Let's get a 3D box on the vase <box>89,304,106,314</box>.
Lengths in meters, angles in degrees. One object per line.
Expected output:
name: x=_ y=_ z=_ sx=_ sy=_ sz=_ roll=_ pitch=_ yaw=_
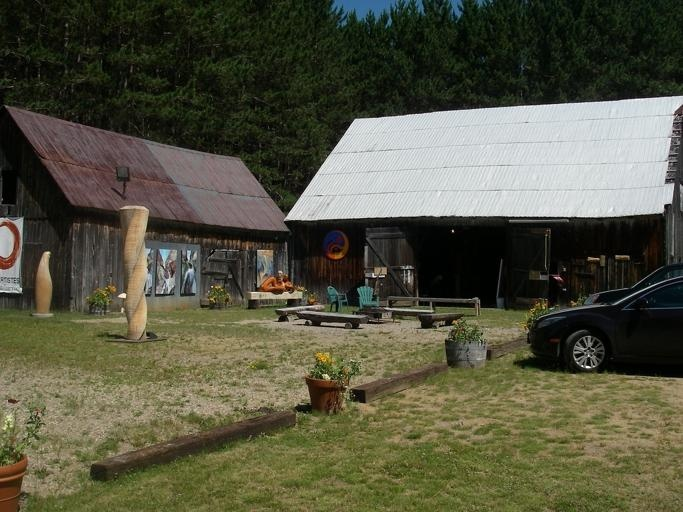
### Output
vase: x=-8.011 y=1.773 z=25.905 sx=0.314 sy=0.241 sz=0.333 roll=1 pitch=0 yaw=37

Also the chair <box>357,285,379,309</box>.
chair: x=0.904 y=1.490 z=28.353 sx=0.689 sy=1.172 sz=0.787 roll=0 pitch=-3 yaw=-12

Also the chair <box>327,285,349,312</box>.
chair: x=-0.182 y=1.643 z=30.183 sx=0.846 sy=1.402 sz=0.889 roll=-2 pitch=-2 yaw=41

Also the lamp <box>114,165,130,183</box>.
lamp: x=-7.049 y=-2.639 z=25.568 sx=0.332 sy=0.472 sz=0.619 roll=-12 pitch=19 yaw=-39

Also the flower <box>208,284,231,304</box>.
flower: x=-4.750 y=1.564 z=30.720 sx=0.656 sy=0.594 sz=0.700 roll=4 pitch=3 yaw=14

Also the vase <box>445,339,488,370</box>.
vase: x=2.767 y=2.205 z=17.792 sx=0.611 sy=0.458 sz=0.632 roll=-6 pitch=-9 yaw=42

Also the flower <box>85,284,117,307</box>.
flower: x=-7.920 y=1.356 z=26.002 sx=0.664 sy=0.602 sz=0.768 roll=2 pitch=2 yaw=30

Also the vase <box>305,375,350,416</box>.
vase: x=-0.241 y=2.641 z=14.913 sx=0.644 sy=0.488 sz=0.634 roll=6 pitch=-6 yaw=-42

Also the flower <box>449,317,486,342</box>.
flower: x=2.821 y=1.749 z=18.217 sx=0.757 sy=0.663 sz=0.940 roll=4 pitch=0 yaw=-4
